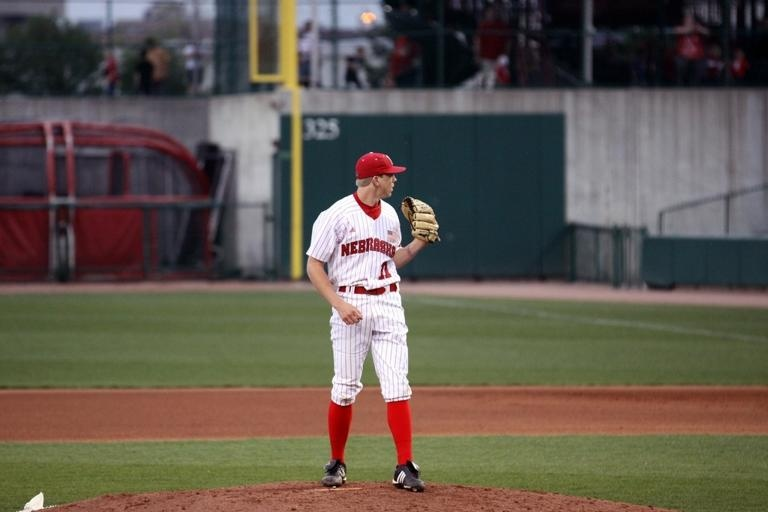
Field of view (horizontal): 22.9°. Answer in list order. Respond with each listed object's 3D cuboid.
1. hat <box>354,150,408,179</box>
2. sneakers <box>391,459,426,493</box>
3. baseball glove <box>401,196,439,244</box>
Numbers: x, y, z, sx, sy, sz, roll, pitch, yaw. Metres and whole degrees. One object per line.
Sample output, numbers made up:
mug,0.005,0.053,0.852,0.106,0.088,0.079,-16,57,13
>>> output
hat,-0.085,-1.218,25.114,0.578,0.323,0.358,-2,9,-3
sneakers,0.370,2.876,24.926,0.222,0.304,0.572,4,-7,-31
baseball glove,0.452,-0.469,25.361,0.436,0.621,0.282,21,-43,-37
